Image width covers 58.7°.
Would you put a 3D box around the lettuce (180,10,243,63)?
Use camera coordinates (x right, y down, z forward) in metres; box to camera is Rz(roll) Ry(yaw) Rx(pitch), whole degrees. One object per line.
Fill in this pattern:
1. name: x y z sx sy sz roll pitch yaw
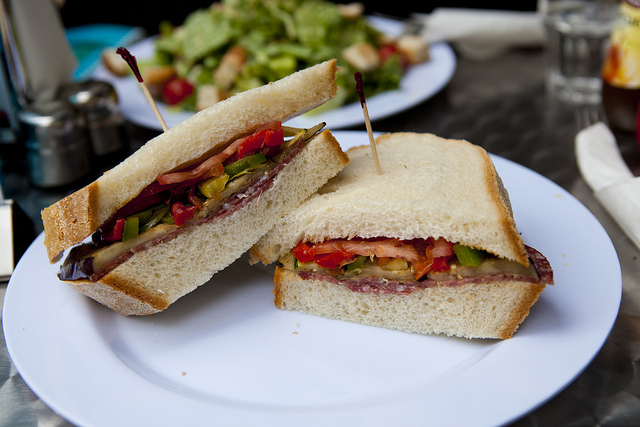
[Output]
1. lettuce: -0.924 -1.387 4.465 0.335 0.400 0.539 12 22 38

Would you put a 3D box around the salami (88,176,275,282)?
1. salami: -0.647 0.052 2.538 0.778 0.087 0.086 -31 27 -11
